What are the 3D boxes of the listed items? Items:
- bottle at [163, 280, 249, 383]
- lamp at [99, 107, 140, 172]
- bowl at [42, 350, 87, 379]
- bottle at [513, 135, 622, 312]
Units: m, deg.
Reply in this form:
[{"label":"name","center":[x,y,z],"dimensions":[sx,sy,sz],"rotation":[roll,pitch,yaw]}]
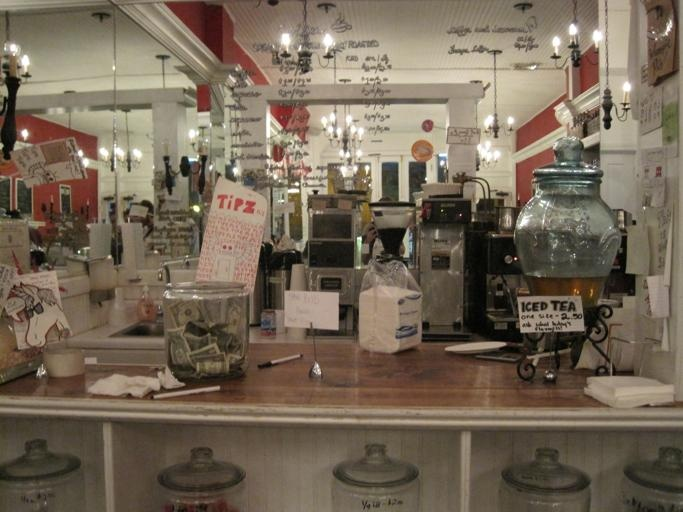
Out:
[{"label":"bottle","center":[-0.529,0.275,2.684],"dimensions":[0.314,0.421,0.343],"rotation":[2,9,0]},{"label":"lamp","center":[-1.410,-0.743,4.350],"dimensions":[0.256,0.430,0.284],"rotation":[1,1,1]},{"label":"bowl","center":[-1.083,0.409,2.648],"dimensions":[0.108,0.081,0.107],"rotation":[1,-2,0]},{"label":"bottle","center":[0.872,-0.136,2.594],"dimensions":[0.358,0.661,0.338],"rotation":[-2,9,0]}]
